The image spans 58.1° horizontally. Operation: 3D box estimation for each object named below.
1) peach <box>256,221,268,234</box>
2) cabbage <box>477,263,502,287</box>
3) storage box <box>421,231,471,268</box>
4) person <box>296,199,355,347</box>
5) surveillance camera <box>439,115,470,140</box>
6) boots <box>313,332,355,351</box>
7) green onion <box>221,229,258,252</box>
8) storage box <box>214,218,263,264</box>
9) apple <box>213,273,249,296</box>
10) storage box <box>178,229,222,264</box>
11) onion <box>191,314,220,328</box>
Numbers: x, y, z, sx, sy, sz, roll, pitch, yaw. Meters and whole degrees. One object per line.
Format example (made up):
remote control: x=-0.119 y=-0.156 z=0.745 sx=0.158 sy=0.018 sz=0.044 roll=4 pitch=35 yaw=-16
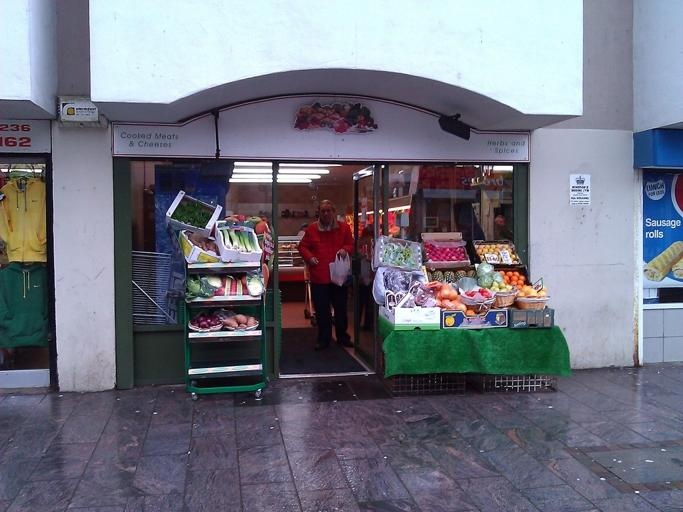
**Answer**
peach: x=-0.948 y=-0.334 z=7.175 sx=0.068 sy=0.105 sz=0.178 roll=-10 pitch=14 yaw=-3
cabbage: x=1.723 y=0.233 z=7.286 sx=0.208 sy=0.125 sz=0.282 roll=-8 pitch=38 yaw=-3
storage box: x=1.289 y=-0.066 z=7.705 sx=0.540 sy=0.305 sz=0.439 roll=-1 pitch=45 yaw=-7
person: x=-0.224 y=0.278 z=8.928 sx=0.766 sy=2.119 sz=0.355 roll=0 pitch=9 yaw=-3
surveillance camera: x=1.372 y=-1.595 z=7.561 sx=0.243 sy=0.219 sz=0.080 roll=21 pitch=26 yaw=-6
boots: x=-0.155 y=1.254 z=9.028 sx=0.685 sy=0.285 sz=0.208 roll=-1 pitch=-2 yaw=-15
green onion: x=-1.130 y=-0.158 z=6.828 sx=0.298 sy=0.103 sz=0.294 roll=4 pitch=35 yaw=-41
storage box: x=-1.156 y=-0.158 z=6.838 sx=0.496 sy=0.462 sz=0.254 roll=-2 pitch=9 yaw=-15
apple: x=-1.214 y=0.302 z=6.788 sx=0.244 sy=0.094 sz=0.257 roll=2 pitch=59 yaw=-13
storage box: x=-1.568 y=-0.092 z=6.756 sx=0.425 sy=0.193 sz=0.336 roll=32 pitch=20 yaw=2
onion: x=-1.546 y=0.739 z=6.944 sx=0.348 sy=0.122 sz=0.324 roll=-3 pitch=10 yaw=-16
